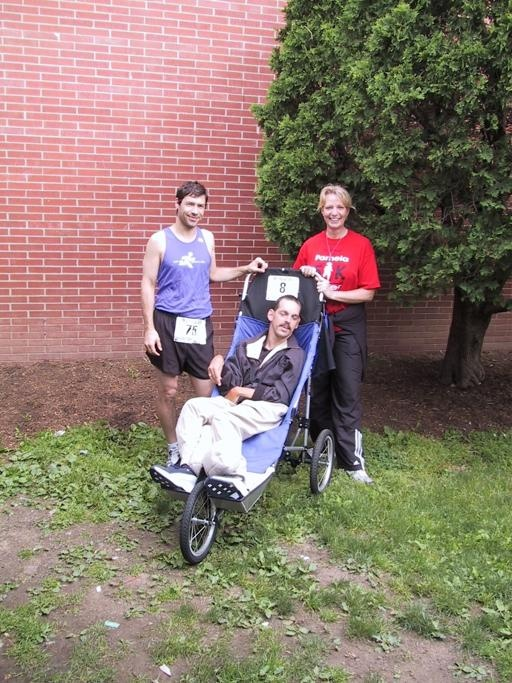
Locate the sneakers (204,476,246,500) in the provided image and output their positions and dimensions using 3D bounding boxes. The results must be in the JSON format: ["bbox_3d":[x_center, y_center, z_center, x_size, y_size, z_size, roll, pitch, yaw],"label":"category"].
[{"bbox_3d":[-0.153,0.762,3.221,0.200,0.132,0.178,2,-19,22],"label":"sneakers"}]

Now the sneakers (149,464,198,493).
[{"bbox_3d":[-0.442,0.734,3.426,0.222,0.152,0.232,6,13,13],"label":"sneakers"}]

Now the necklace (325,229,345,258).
[{"bbox_3d":[0.552,-0.705,4.552,0.116,0.159,0.059,8,3,6],"label":"necklace"}]

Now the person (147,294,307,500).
[{"bbox_3d":[-0.096,0.257,3.820,0.624,0.939,1.458,6,13,12],"label":"person"}]

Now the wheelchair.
[{"bbox_3d":[-0.109,0.375,3.938,0.945,1.479,1.770,8,16,20],"label":"wheelchair"}]
